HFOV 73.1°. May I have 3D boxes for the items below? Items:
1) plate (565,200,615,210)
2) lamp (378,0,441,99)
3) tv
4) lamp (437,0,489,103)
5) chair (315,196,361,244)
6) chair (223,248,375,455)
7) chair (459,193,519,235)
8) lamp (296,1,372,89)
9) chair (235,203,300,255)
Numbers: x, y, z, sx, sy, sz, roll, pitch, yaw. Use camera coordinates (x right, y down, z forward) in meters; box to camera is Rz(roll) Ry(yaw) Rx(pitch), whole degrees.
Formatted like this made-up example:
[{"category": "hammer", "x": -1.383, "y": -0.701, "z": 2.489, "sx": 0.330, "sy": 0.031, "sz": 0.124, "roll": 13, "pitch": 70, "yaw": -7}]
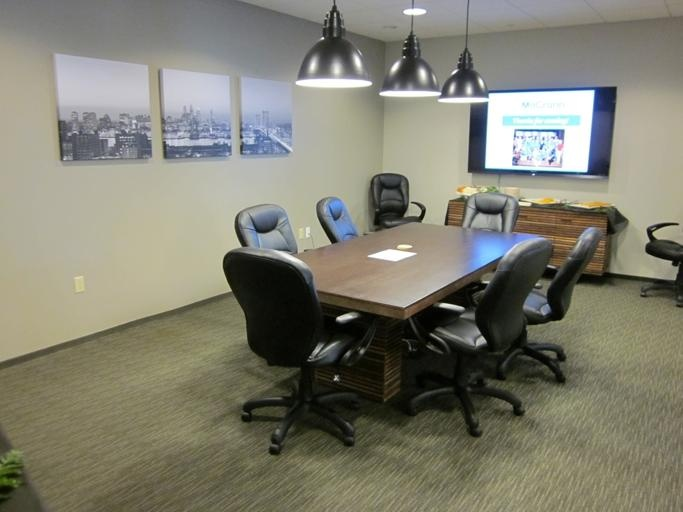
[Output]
[{"category": "plate", "x": 3.037, "y": -0.644, "z": 5.629, "sx": 0.469, "sy": 0.046, "sz": 0.466, "roll": 7, "pitch": 18, "yaw": 30}, {"category": "lamp", "x": 0.644, "y": -1.936, "z": 4.152, "sx": 0.440, "sy": 0.977, "sz": 1.691, "roll": 1, "pitch": 16, "yaw": 11}, {"category": "tv", "x": 2.626, "y": -1.630, "z": 5.838, "sx": 1.211, "sy": 0.811, "sz": 0.051, "roll": 6, "pitch": 12, "yaw": 25}, {"category": "lamp", "x": 1.227, "y": -2.077, "z": 4.688, "sx": 0.407, "sy": 0.993, "sz": 1.814, "roll": 1, "pitch": 16, "yaw": 13}, {"category": "chair", "x": -0.062, "y": -0.381, "z": 4.306, "sx": 0.410, "sy": 0.482, "sz": 0.380, "roll": 11, "pitch": 25, "yaw": 34}, {"category": "chair", "x": -0.226, "y": 0.600, "z": 2.742, "sx": 0.789, "sy": 1.139, "sz": 0.761, "roll": 9, "pitch": 20, "yaw": 31}, {"category": "chair", "x": 1.515, "y": -0.496, "z": 4.736, "sx": 0.410, "sy": 0.620, "sz": 0.499, "roll": 11, "pitch": 18, "yaw": 36}, {"category": "lamp", "x": -0.080, "y": -1.326, "z": 2.855, "sx": 0.430, "sy": 0.491, "sz": 0.453, "roll": -8, "pitch": 16, "yaw": -22}, {"category": "chair", "x": -0.587, "y": -0.223, "z": 3.613, "sx": 0.428, "sy": 0.550, "sz": 0.400, "roll": 7, "pitch": 17, "yaw": 42}]
